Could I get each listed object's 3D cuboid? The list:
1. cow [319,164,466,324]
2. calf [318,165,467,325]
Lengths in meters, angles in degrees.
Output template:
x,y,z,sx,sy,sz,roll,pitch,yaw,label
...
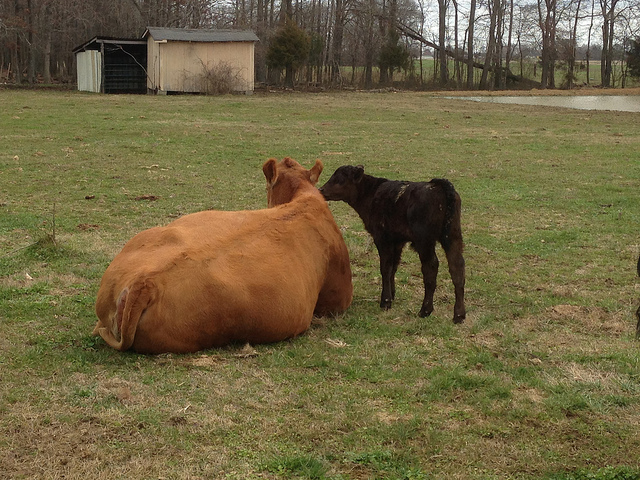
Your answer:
x,y,z,sx,sy,sz,roll,pitch,yaw,label
0.894,0.012,11.003,2.066,1.763,0.662,10,15,37,cow
0.898,0.033,10.989,2.077,1.785,0.667,10,12,39,calf
